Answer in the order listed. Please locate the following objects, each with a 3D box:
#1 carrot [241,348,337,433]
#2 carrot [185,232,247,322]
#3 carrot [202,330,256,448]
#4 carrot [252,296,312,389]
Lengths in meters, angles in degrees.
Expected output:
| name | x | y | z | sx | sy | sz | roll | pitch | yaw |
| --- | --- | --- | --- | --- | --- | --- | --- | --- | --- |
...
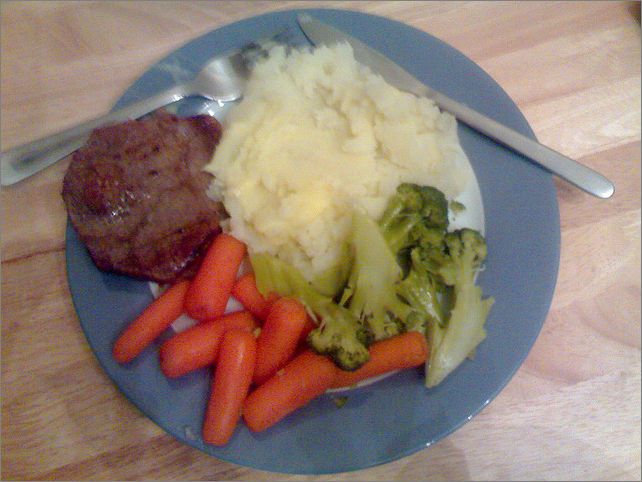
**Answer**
| name | x | y | z | sx | sy | sz | roll | pitch | yaw |
| --- | --- | --- | --- | --- | --- | --- | --- | --- | --- |
| carrot | -0.091 | 0.433 | 1.875 | 0.352 | 0.139 | 0.146 | -30 | 53 | -3 |
| carrot | -0.341 | 0.109 | 2.012 | 0.159 | 0.142 | 0.340 | 32 | 27 | -22 |
| carrot | -0.255 | 0.428 | 1.869 | 0.111 | 0.105 | 0.342 | 13 | 73 | -1 |
| carrot | -0.123 | 0.299 | 1.919 | 0.122 | 0.098 | 0.263 | 29 | 100 | -8 |
